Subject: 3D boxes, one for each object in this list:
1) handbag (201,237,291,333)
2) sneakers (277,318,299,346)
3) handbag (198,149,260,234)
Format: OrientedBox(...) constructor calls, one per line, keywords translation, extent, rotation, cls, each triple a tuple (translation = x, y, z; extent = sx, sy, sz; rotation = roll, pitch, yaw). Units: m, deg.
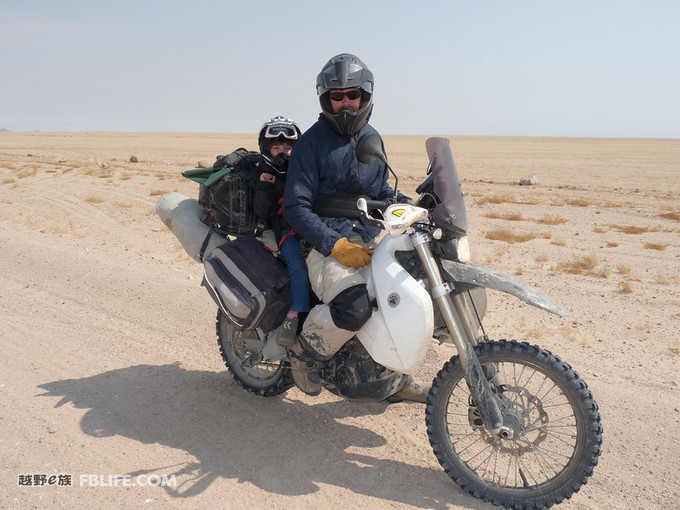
OrientedBox(translation=(-0.991, 0.267, 6.271), extent=(0.389, 0.749, 1.033), rotation=(-35, 67, -20), cls="handbag")
OrientedBox(translation=(-0.552, 0.794, 6.068), extent=(0.172, 0.133, 0.347), rotation=(3, 13, 2), cls="sneakers")
OrientedBox(translation=(-1.269, -0.763, 6.898), extent=(0.892, 0.739, 0.645), rotation=(15, 19, 22), cls="handbag")
